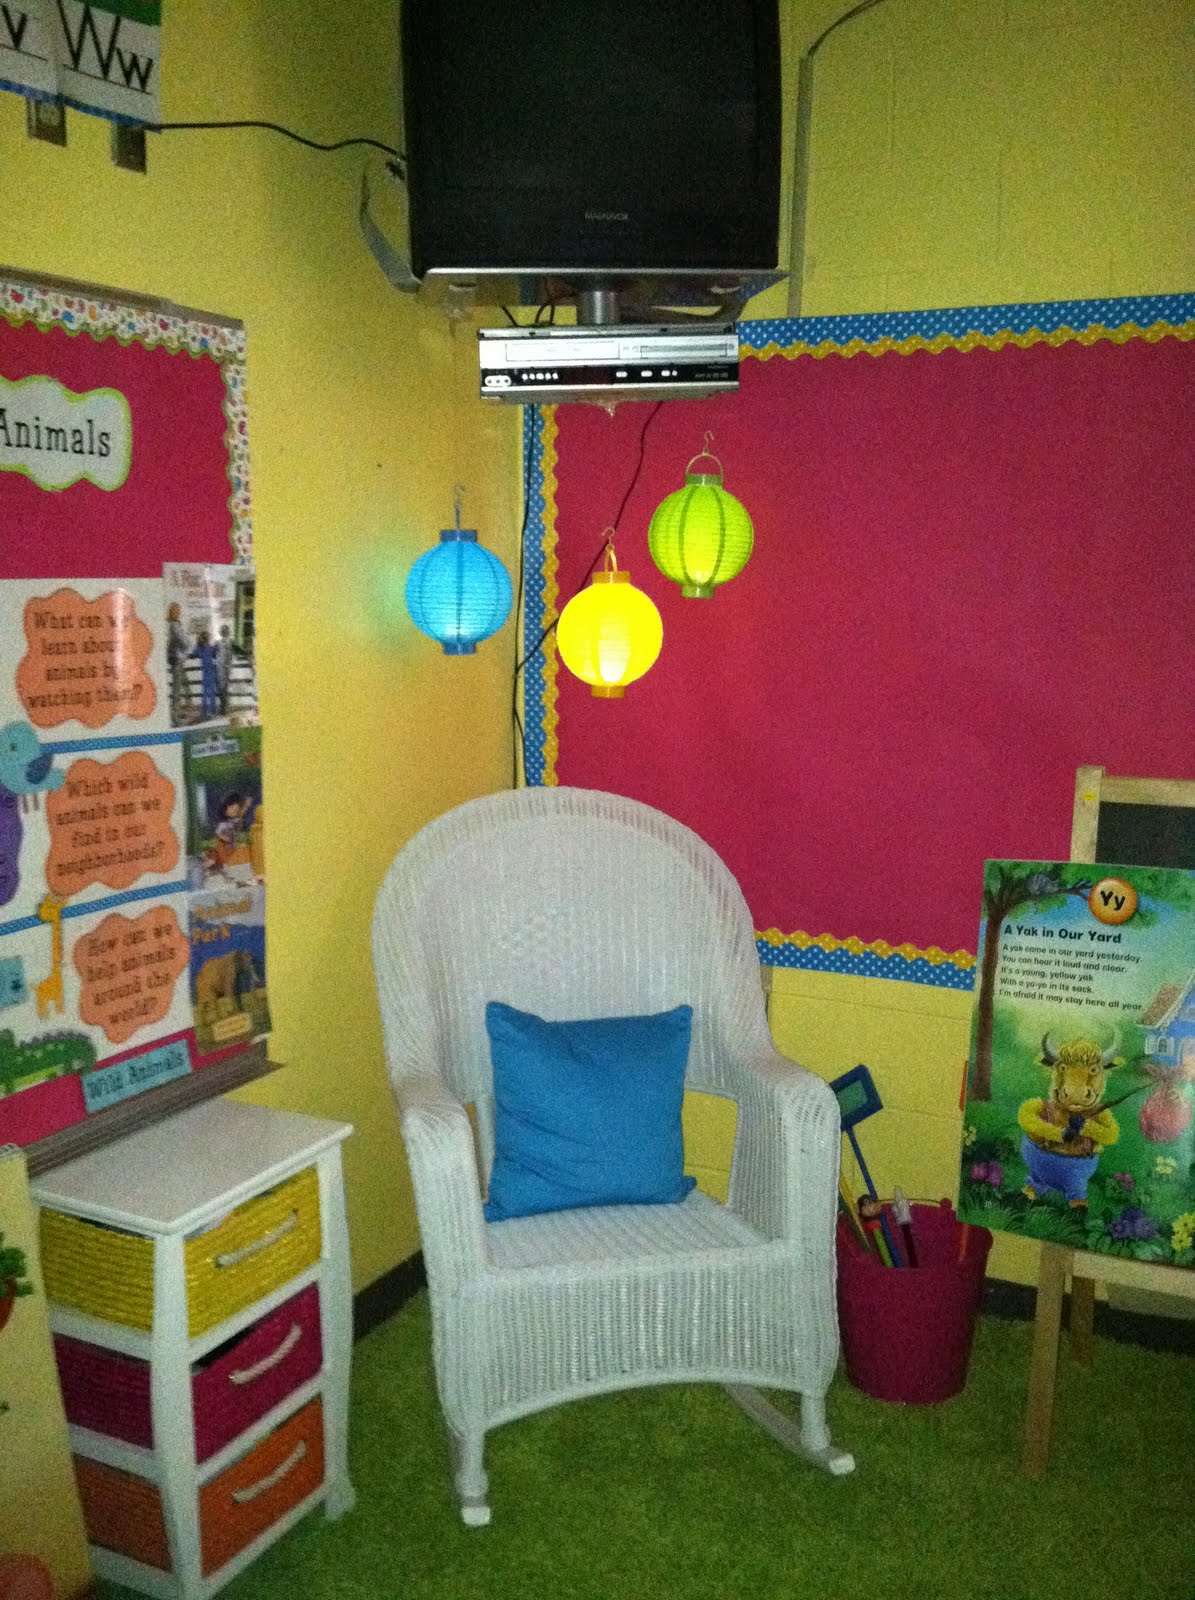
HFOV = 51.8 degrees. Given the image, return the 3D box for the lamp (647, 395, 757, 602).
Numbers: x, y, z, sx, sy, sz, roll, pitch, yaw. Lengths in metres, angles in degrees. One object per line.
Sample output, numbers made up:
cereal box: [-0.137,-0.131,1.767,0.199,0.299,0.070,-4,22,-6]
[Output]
lamp: [0.219,-0.597,2.542,0.259,0.429,0.276,6,22,9]

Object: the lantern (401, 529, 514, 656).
lantern: [-0.261,-0.431,2.557,0.227,0.278,0.239,5,20,10]

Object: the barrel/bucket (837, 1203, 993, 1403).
barrel/bucket: [0.611,0.968,2.448,0.332,0.351,0.298,-3,3,-29]
